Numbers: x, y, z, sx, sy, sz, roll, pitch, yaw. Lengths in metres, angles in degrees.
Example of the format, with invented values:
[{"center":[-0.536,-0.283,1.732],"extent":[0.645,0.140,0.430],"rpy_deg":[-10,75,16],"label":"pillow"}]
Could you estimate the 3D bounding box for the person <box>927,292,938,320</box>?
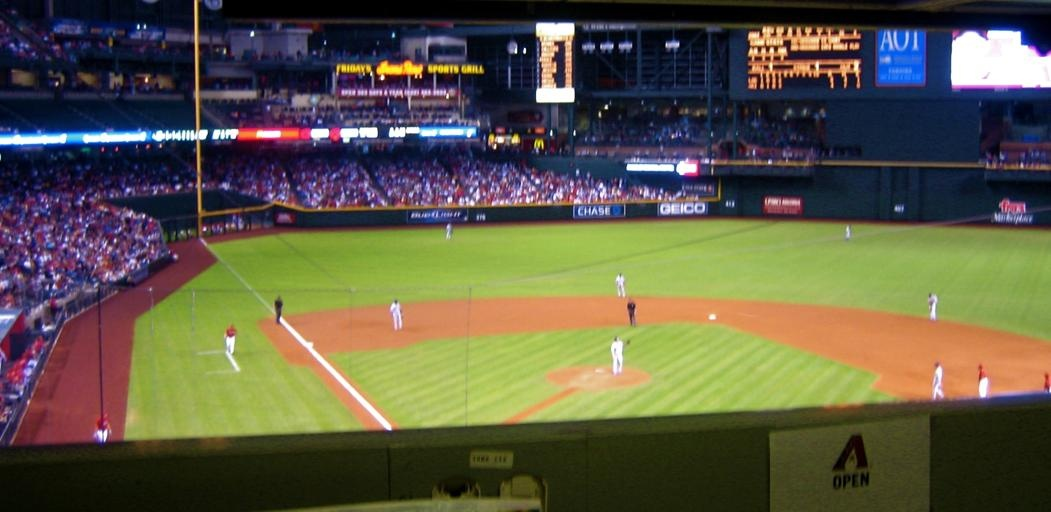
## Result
[{"center":[21.922,2.595,62.564],"extent":[0.445,1.400,2.084],"rpy_deg":[2,10,19],"label":"person"}]
